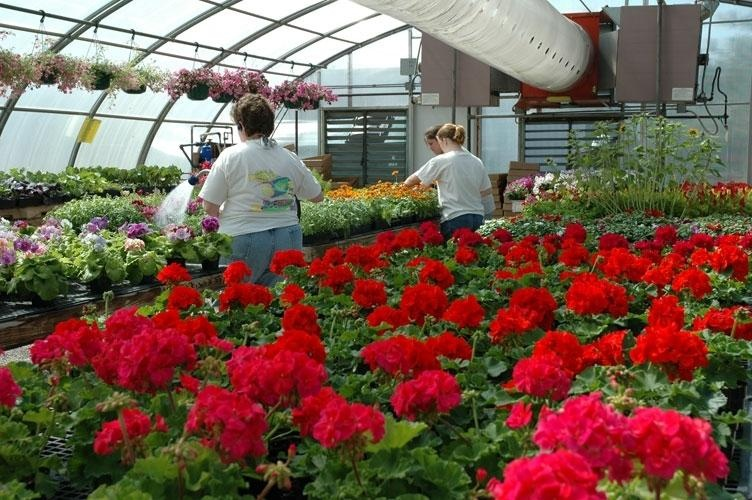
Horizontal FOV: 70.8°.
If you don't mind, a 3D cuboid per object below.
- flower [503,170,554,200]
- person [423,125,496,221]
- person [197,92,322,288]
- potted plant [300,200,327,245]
[{"bbox_3d":[2.607,-1.064,9.116,0.610,0.293,0.624,-18,5,17],"label":"flower"},{"bbox_3d":[0.769,-0.657,4.985,0.764,1.036,0.418,2,0,-7],"label":"person"},{"bbox_3d":[-0.804,-0.413,3.699,0.811,1.296,0.284,2,0,-20],"label":"person"},{"bbox_3d":[-0.662,-0.295,5.783,0.378,0.213,0.450,0,17,-3],"label":"potted plant"}]
